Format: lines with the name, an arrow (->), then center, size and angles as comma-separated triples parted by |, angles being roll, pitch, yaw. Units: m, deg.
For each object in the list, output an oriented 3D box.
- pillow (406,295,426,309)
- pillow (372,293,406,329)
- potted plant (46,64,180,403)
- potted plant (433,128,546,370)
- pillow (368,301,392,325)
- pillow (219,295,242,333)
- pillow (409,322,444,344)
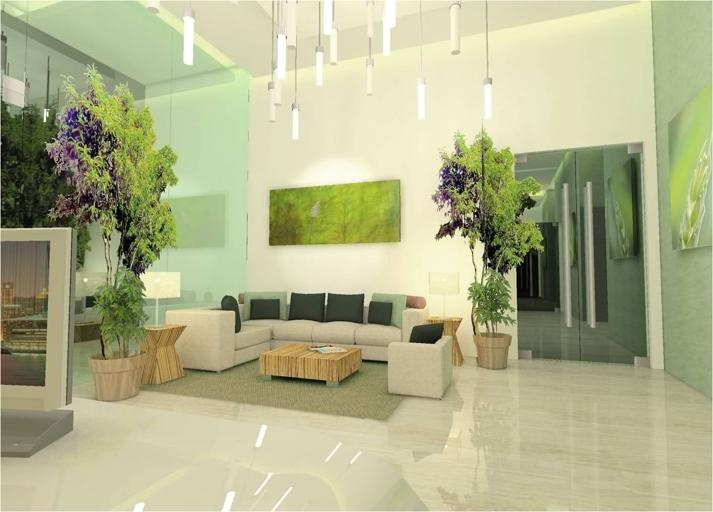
pillow -> 0.872, 0.676, 7.371 | 0.236, 0.162, 0.166 | 1, 8, 32
pillow -> 0.539, 0.764, 7.302 | 0.458, 0.455, 0.142 | -1, -23, 28
potted plant -> -2.656, -0.264, 5.560 | 0.947, 3.531, 1.272 | 0, 9, 1
potted plant -> 1.764, -0.135, 7.040 | 1.500, 3.232, 1.184 | 3, 9, 19
pillow -> 0.286, 0.806, 7.186 | 0.307, 0.329, 0.088 | -2, -15, 25
pillow -> -1.659, 0.781, 6.625 | 0.179, 0.508, 0.410 | -6, -4, 4
pillow -> 0.797, 0.880, 5.679 | 0.259, 0.276, 0.093 | -4, 29, -20
